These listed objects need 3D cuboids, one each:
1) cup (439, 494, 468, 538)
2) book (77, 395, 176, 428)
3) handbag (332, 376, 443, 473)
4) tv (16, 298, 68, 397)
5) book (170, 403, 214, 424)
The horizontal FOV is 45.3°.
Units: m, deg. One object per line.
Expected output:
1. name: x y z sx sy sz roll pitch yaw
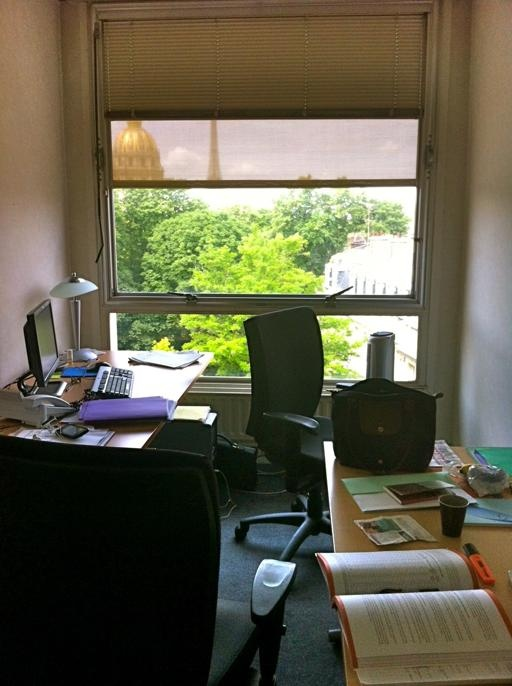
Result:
1. cup: 0.425 0.376 1.335 0.083 0.081 0.082 1 4 0
2. book: -0.456 0.219 2.160 0.335 0.043 0.276 -2 16 -7
3. handbag: 0.367 0.237 1.759 0.341 0.257 0.182 0 3 8
4. tv: -0.833 0.030 2.350 0.183 0.352 0.375 -2 10 -8
5. book: -0.310 0.339 2.944 0.188 0.041 0.176 2 12 2
